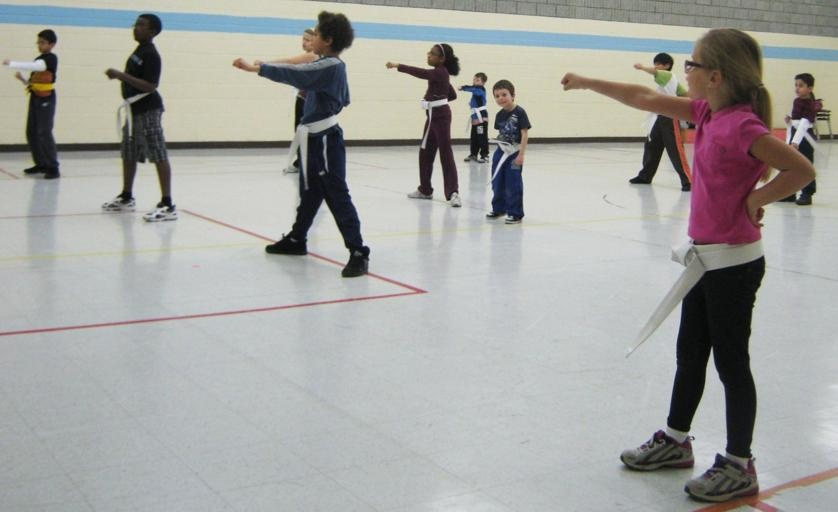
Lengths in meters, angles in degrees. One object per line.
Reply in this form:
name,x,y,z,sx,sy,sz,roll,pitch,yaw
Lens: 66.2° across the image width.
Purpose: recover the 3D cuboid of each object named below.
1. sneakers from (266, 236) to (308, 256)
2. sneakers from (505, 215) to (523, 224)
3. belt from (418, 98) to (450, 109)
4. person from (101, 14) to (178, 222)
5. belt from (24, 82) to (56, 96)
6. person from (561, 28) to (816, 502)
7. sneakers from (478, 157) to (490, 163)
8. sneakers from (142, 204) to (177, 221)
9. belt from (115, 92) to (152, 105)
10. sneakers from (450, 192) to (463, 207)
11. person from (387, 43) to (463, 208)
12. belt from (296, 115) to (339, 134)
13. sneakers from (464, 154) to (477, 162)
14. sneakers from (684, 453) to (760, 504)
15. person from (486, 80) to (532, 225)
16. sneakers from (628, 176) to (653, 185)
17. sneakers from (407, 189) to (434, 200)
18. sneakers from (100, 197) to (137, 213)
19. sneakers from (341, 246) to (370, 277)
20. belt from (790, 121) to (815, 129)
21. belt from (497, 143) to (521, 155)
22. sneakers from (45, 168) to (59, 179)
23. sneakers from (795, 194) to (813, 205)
sneakers,-1.142,-0.082,5.600,0.365,0.133,0.151,2,7,0
sneakers,1.035,-0.412,7.101,0.208,0.079,0.075,1,2,-39
belt,0.201,-1.922,8.094,0.311,0.147,0.207,1,17,2
person,-2.924,-1.440,6.664,0.706,2.067,0.872,-12,22,-33
belt,-5.477,-2.425,9.323,0.327,0.173,0.195,-9,19,-30
person,1.237,0.007,2.778,0.761,1.913,0.880,4,19,9
sneakers,1.313,-1.970,13.113,0.105,0.098,0.266,-1,1,23
sneakers,-2.747,-0.448,6.728,0.404,0.148,0.141,-2,7,-29
belt,-2.909,-1.614,6.582,0.305,0.119,0.074,2,18,5
sneakers,0.448,-0.708,8.064,0.156,0.170,0.196,-3,6,-2
person,0.178,-1.764,8.396,0.790,1.987,1.573,1,18,0
belt,-0.828,-1.087,5.258,0.309,0.136,0.155,-2,17,-11
sneakers,1.059,-2.029,13.353,0.165,0.116,0.293,-3,9,-17
sneakers,1.260,0.937,2.732,0.380,0.161,0.133,-4,0,-12
person,0.999,-1.174,7.177,0.427,1.522,0.807,3,18,8
sneakers,3.564,-1.229,10.438,0.324,0.106,0.162,0,2,15
sneakers,0.014,-0.818,8.547,0.367,0.126,0.122,4,10,8
sneakers,-3.273,-0.562,7.084,0.394,0.146,0.140,2,12,-13
sneakers,-0.502,0.033,5.170,0.184,0.209,0.343,4,17,11
belt,5.038,-1.741,8.422,0.219,0.092,0.146,0,0,-2
belt,0.983,-1.186,7.026,0.153,0.083,0.179,3,3,9
sneakers,-5.263,-1.204,9.223,0.196,0.143,0.272,-6,17,-22
sneakers,5.247,-0.769,8.709,0.311,0.176,0.127,0,8,-7
